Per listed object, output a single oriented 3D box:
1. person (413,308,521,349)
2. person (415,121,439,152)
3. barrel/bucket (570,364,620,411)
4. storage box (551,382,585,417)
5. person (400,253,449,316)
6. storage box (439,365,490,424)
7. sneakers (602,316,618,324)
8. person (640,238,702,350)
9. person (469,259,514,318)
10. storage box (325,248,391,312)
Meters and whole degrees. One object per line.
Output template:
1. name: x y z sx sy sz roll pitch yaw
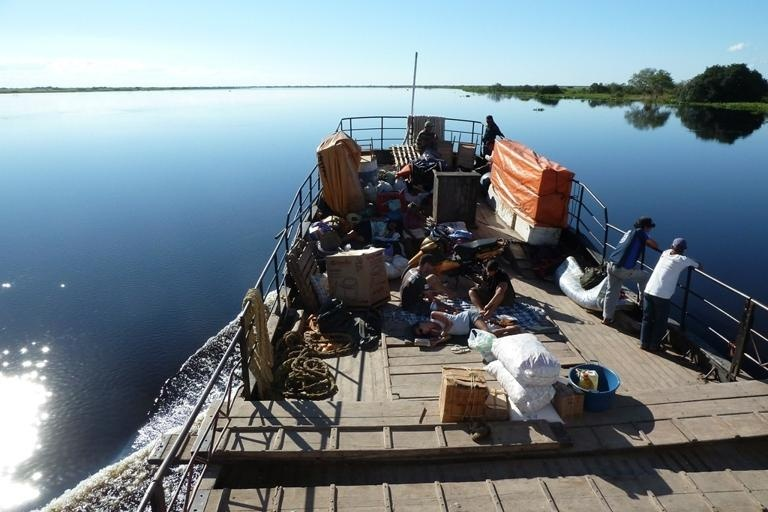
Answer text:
1. person: 1.824 1.561 10.912 2.276 0.720 0.912 -1 -7 4
2. person: 1.743 -4.754 19.710 0.682 1.186 0.880 -9 29 -19
3. barrel/bucket: 4.053 2.439 9.419 0.880 0.551 0.856 -8 22 3
4. storage box: 3.419 2.670 9.160 0.478 0.599 0.868 0 10 4
5. person: 0.826 0.628 11.214 0.901 1.199 0.906 2 27 2
6. storage box: 1.465 2.515 8.910 0.861 0.752 0.609 1 27 0
7. sneakers: 5.308 1.481 11.446 0.318 0.210 0.123 6 18 9
8. person: 6.045 0.825 10.523 0.767 2.343 0.985 20 33 32
9. person: 2.428 0.719 11.210 0.999 1.197 1.340 4 16 18
10. storage box: -0.675 0.517 12.113 1.450 1.146 1.512 -1 5 42
